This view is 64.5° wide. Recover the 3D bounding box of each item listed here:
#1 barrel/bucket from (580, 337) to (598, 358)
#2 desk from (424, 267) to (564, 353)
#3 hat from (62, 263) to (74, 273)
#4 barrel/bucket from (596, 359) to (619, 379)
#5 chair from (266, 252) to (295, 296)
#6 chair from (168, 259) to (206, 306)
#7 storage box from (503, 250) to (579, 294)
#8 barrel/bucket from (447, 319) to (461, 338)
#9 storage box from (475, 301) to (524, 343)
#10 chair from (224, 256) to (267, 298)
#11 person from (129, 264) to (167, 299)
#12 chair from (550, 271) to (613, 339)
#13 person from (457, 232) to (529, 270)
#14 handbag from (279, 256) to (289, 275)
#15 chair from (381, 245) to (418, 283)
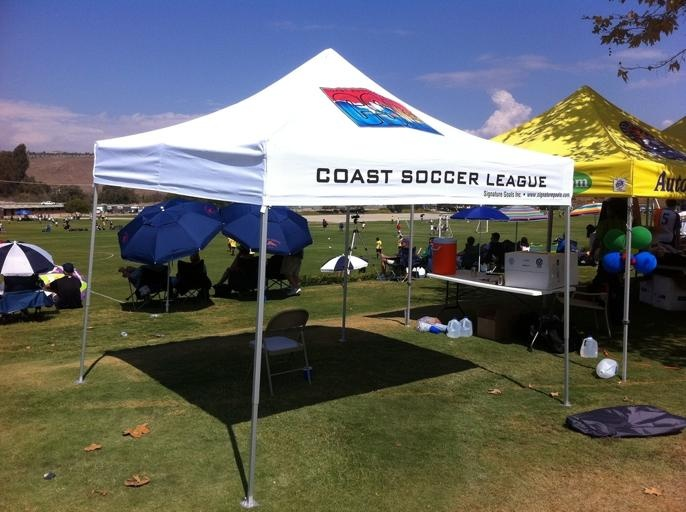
[{"bbox_3d":[4.454,1.604,9.777,0.320,0.414,0.329,1,13,0],"label":"barrel/bucket"},{"bbox_3d":[2.882,0.944,10.310,1.251,0.884,2.231,-1,7,-44],"label":"desk"},{"bbox_3d":[-6.512,0.276,12.917,0.263,0.154,0.338,-4,13,-30],"label":"hat"},{"bbox_3d":[4.292,1.800,8.833,0.297,0.265,0.450,8,14,31],"label":"barrel/bucket"},{"bbox_3d":[-1.972,0.518,16.077,0.876,0.818,0.808,-18,6,-17],"label":"chair"},{"bbox_3d":[-4.206,0.625,14.693,1.202,1.207,1.100,-2,5,-24],"label":"chair"},{"bbox_3d":[3.680,0.252,9.765,1.324,0.550,1.325,2,2,37],"label":"storage box"},{"bbox_3d":[2.226,1.461,10.895,0.322,0.420,0.273,16,-22,-38],"label":"barrel/bucket"},{"bbox_3d":[3.140,1.362,11.163,0.836,0.600,0.711,3,-3,-35],"label":"storage box"},{"bbox_3d":[-2.564,0.593,15.973,1.259,1.369,1.445,2,-1,-28],"label":"chair"},{"bbox_3d":[-5.014,0.618,13.853,0.984,0.886,0.419,8,15,-28],"label":"person"},{"bbox_3d":[5.154,1.026,11.411,1.162,0.948,1.062,4,7,27],"label":"chair"},{"bbox_3d":[3.371,-0.129,13.523,1.879,0.766,1.325,3,3,31],"label":"person"},{"bbox_3d":[-1.671,0.244,15.483,0.185,0.638,0.546,-5,14,-21],"label":"handbag"},{"bbox_3d":[2.088,0.206,19.100,1.313,1.352,1.324,-3,7,-41],"label":"chair"}]
